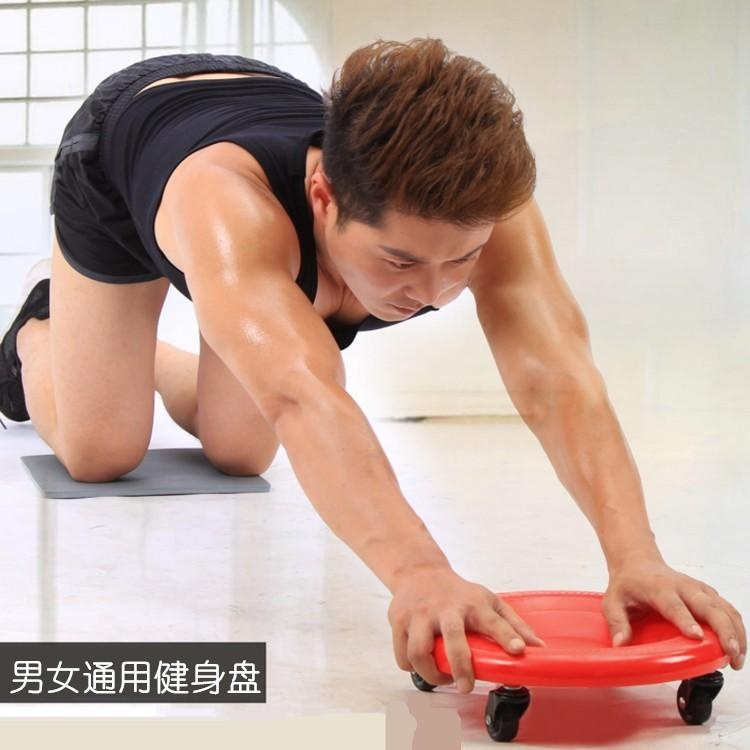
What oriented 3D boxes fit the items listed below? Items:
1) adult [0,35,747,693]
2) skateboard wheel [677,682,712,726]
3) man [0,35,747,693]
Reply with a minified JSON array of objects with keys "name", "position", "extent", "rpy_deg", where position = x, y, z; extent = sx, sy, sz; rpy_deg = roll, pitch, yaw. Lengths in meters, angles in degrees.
[{"name":"adult","position":[-0.129,-0.242,1.488],"extent":[0.546,0.715,1.669],"rpy_deg":[-7,26,-33]},{"name":"skateboard wheel","position":[0.312,0.322,0.889],"extent":[0.018,0.042,0.034],"rpy_deg":[1,28,-8]},{"name":"man","position":[-0.029,-0.214,1.530],"extent":[0.546,0.715,1.669],"rpy_deg":[-7,26,-33]}]
